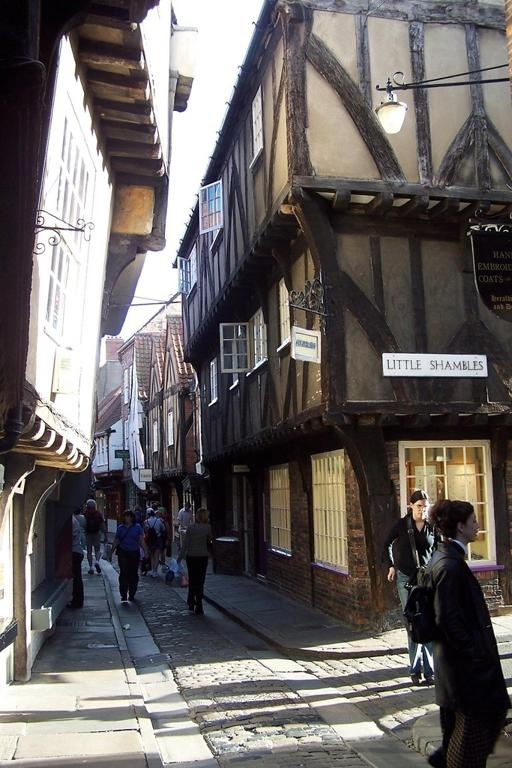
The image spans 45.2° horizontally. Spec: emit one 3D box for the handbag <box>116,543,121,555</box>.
[{"bbox_3d":[-2.553,3.080,11.500,0.083,0.187,0.093,1,-17,-8],"label":"handbag"}]

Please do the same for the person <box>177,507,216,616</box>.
[{"bbox_3d":[-1.054,3.026,10.654,0.510,1.720,0.792,1,-11,-5],"label":"person"}]

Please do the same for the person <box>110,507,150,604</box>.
[{"bbox_3d":[-2.455,3.272,11.859,0.581,1.667,1.066,2,-11,-11],"label":"person"}]

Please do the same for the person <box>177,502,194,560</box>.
[{"bbox_3d":[-1.997,4.174,17.892,0.488,1.775,0.520,4,24,8],"label":"person"}]
